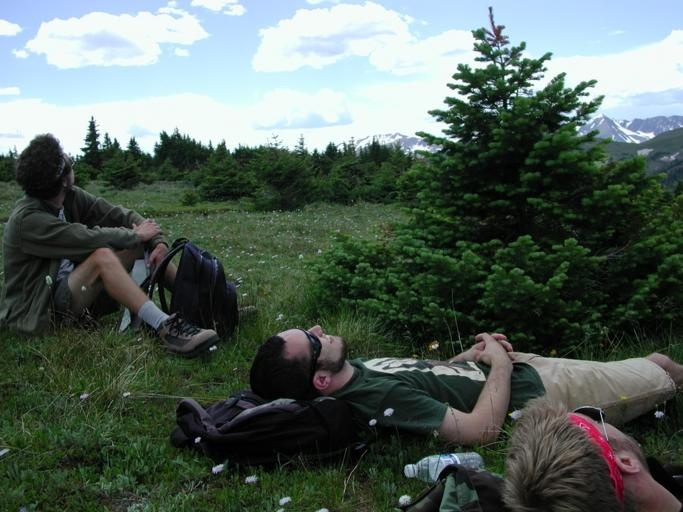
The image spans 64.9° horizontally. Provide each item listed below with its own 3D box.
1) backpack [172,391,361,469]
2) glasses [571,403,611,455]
[{"bbox_3d":[-0.589,1.314,3.958,0.922,0.349,0.664,6,-15,-9],"label":"backpack"},{"bbox_3d":[1.399,0.965,2.972,0.064,0.210,0.210,-4,6,-5],"label":"glasses"}]
